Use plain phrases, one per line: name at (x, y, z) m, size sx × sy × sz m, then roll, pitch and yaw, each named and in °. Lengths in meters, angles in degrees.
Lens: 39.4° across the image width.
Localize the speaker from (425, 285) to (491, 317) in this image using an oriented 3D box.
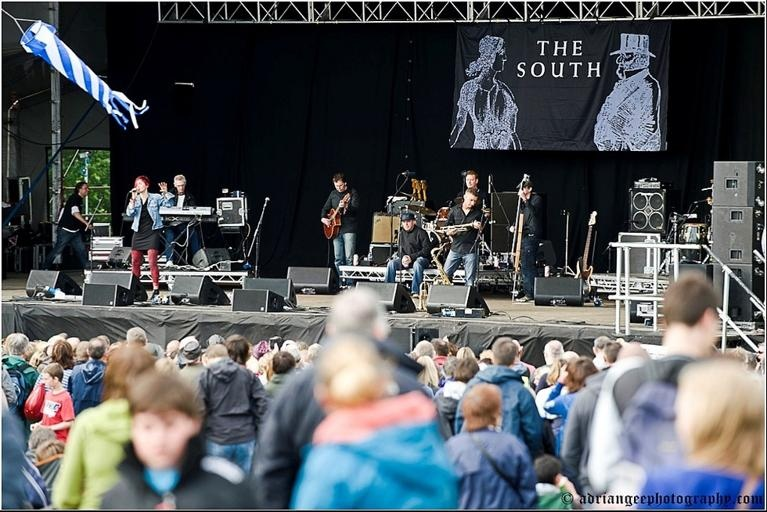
speaker at (0.972, 0.571, 14.436) m, size 0.618 × 0.422 × 0.632 m, roll 0°, pitch 1°, yaw 35°

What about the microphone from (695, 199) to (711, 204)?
microphone at (5.238, -0.883, 17.546) m, size 0.255 × 0.111 × 0.165 m, roll -1°, pitch -3°, yaw -5°

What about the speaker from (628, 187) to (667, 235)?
speaker at (4.029, -0.646, 16.357) m, size 0.583 × 0.698 × 0.584 m, roll 0°, pitch -11°, yaw 21°

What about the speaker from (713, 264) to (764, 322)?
speaker at (4.200, 0.434, 12.544) m, size 0.752 × 0.674 × 0.330 m, roll 4°, pitch -3°, yaw -15°

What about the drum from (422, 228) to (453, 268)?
drum at (0.856, -0.165, 16.537) m, size 0.519 × 0.538 × 0.523 m, roll 15°, pitch 27°, yaw 26°

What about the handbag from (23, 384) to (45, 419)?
handbag at (-3.242, 1.334, 9.950) m, size 0.193 × 0.125 × 0.336 m, roll 14°, pitch 41°, yaw -3°

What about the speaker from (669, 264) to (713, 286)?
speaker at (2.924, 0.177, 10.122) m, size 0.217 × 0.204 × 0.118 m, roll -1°, pitch 3°, yaw 13°

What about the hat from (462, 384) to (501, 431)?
hat at (0.744, 1.147, 8.056) m, size 0.264 × 0.347 × 0.341 m, roll -3°, pitch -6°, yaw 4°

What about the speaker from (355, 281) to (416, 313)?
speaker at (0.109, 0.541, 14.444) m, size 0.574 × 0.461 × 0.335 m, roll 1°, pitch -33°, yaw 14°

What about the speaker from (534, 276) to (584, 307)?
speaker at (2.507, 0.511, 15.488) m, size 0.719 × 0.471 × 0.395 m, roll 1°, pitch 3°, yaw 13°

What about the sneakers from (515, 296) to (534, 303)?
sneakers at (2.132, 0.671, 16.269) m, size 0.290 × 0.122 × 0.098 m, roll 3°, pitch -4°, yaw -9°

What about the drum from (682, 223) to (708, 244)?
drum at (4.288, -0.298, 14.716) m, size 0.297 × 0.291 × 0.303 m, roll -2°, pitch -11°, yaw 27°

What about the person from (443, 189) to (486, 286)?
person at (1.126, -0.274, 15.100) m, size 0.625 × 1.377 × 0.671 m, roll 1°, pitch -3°, yaw 34°

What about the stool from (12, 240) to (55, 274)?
stool at (-6.587, 0.052, 20.656) m, size 0.688 × 0.837 × 0.888 m, roll 0°, pitch -1°, yaw 38°

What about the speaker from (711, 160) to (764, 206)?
speaker at (4.289, -0.869, 12.847) m, size 0.557 × 0.519 × 0.576 m, roll 3°, pitch 7°, yaw 34°
